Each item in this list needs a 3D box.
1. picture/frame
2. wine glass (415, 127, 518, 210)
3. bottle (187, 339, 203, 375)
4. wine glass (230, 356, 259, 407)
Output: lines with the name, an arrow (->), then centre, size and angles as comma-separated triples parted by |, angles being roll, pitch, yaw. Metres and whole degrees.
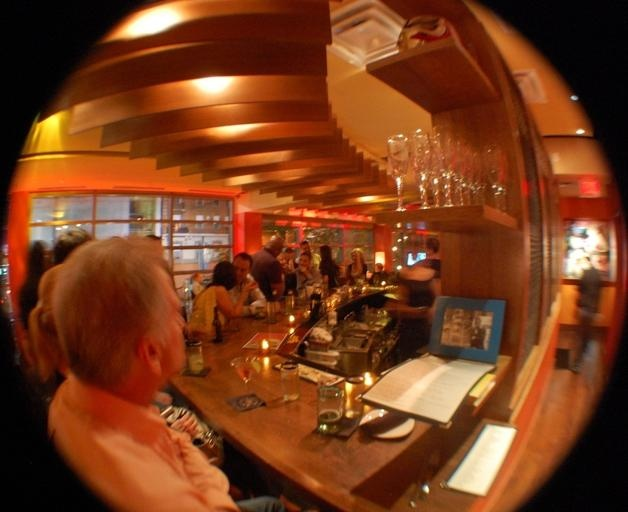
picture/frame -> 0.480, 0.235, 1.450 | 0.230, 0.232, 0.016 | 3, -39, 25
wine glass -> 0.423, -0.264, 1.415 | 0.349, 0.239, 0.149 | -3, 9, -30
bottle -> -0.463, 0.393, 1.782 | 0.073, 0.113, 0.074 | -5, -8, -1
wine glass -> -0.246, 0.448, 1.694 | 0.121, 0.161, 0.116 | -2, -5, -10
